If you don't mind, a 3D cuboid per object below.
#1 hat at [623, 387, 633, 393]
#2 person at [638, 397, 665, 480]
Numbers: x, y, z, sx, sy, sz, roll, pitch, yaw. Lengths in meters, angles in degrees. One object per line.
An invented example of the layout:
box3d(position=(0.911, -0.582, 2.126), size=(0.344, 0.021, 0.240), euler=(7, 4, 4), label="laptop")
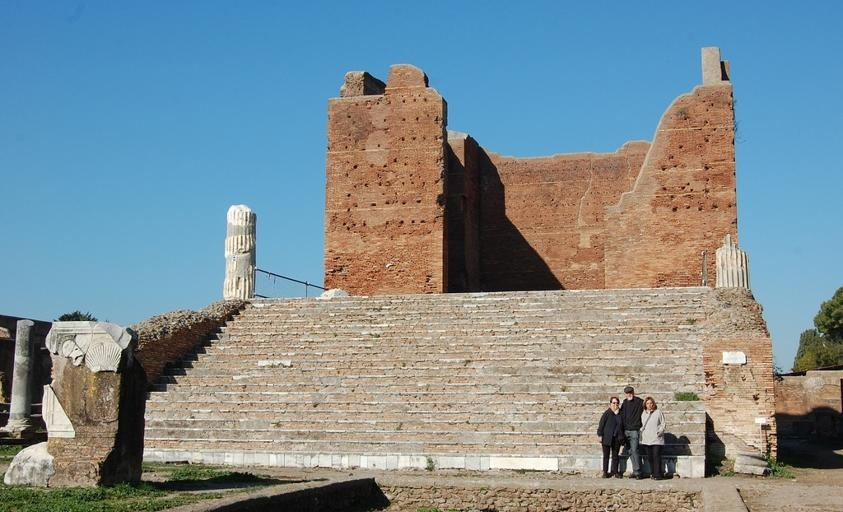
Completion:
box3d(position=(4.312, 2.783, 31.406), size=(0.230, 0.077, 0.266), euler=(2, 12, 12), label="hat")
box3d(position=(4.752, 3.728, 30.992), size=(0.511, 1.632, 0.484), euler=(3, 2, 7), label="person")
